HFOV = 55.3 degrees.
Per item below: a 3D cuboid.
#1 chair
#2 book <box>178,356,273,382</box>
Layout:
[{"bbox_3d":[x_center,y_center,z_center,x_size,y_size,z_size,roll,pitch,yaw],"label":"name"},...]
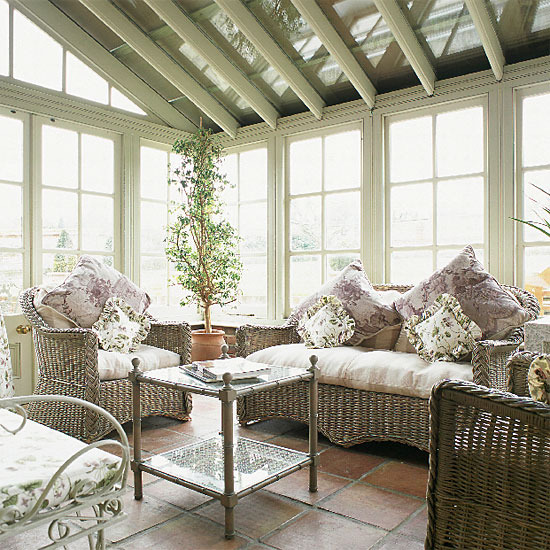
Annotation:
[{"bbox_3d":[-1.130,0.505,3.586,1.160,0.853,1.074,-1,-2,40],"label":"chair"},{"bbox_3d":[-0.227,0.464,2.577,0.285,0.045,0.260,1,-2,-39],"label":"book"}]
